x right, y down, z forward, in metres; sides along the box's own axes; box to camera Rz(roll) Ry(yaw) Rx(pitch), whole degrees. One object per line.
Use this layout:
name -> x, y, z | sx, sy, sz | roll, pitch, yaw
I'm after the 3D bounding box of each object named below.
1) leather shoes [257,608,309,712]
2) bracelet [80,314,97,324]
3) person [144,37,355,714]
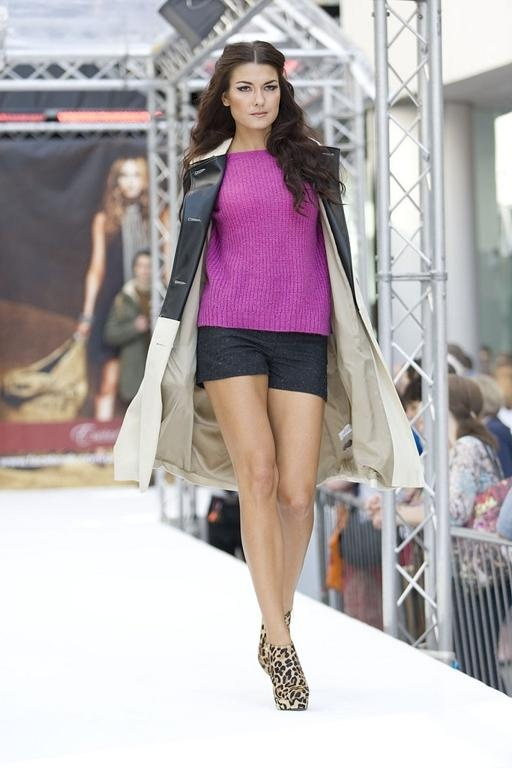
leather shoes -> 0.068, 0.664, 2.273 | 0.085, 0.092, 0.236 | -6, 39, -14
bracelet -> -1.362, -0.535, 7.663 | 0.093, 0.058, 0.079 | 7, 11, 28
person -> 0.028, -0.067, 2.433 | 0.413, 1.661, 0.580 | 0, 4, -4
